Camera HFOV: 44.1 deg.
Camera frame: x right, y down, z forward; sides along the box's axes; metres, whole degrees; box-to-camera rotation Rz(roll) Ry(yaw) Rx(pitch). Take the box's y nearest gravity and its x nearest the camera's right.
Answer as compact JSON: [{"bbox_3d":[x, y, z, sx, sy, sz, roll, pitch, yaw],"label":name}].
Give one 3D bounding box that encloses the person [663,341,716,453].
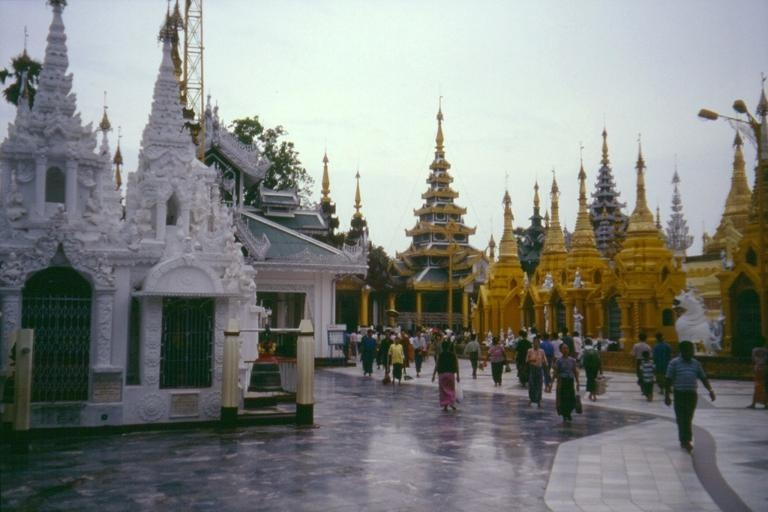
[{"bbox_3d":[6.379,2.929,19.916,0.895,2.252,1.002,-2,-6,16],"label":"person"}]
